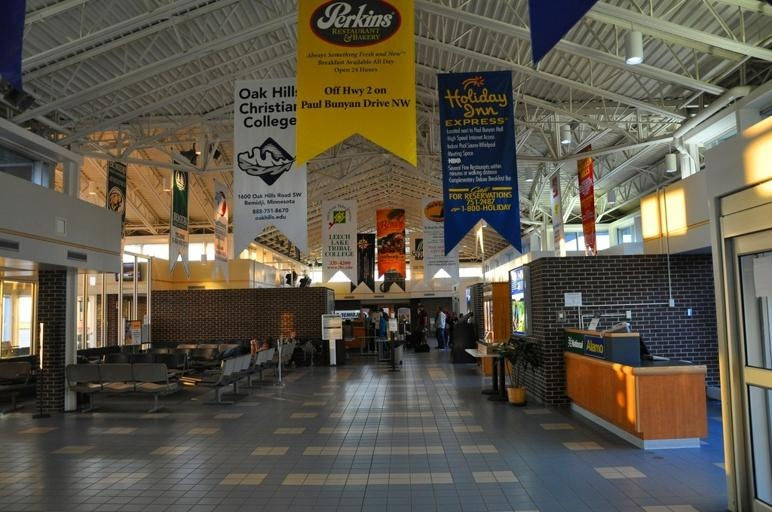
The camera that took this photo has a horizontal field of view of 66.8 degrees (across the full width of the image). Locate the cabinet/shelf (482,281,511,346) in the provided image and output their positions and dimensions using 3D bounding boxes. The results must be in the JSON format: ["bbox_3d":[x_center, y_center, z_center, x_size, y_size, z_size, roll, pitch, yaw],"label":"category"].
[{"bbox_3d":[2.779,1.373,15.159,0.510,1.438,1.490,-2,-1,-3],"label":"cabinet/shelf"}]

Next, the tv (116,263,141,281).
[{"bbox_3d":[-8.024,0.495,18.052,0.069,0.502,0.695,-2,-3,24],"label":"tv"}]

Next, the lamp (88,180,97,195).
[{"bbox_3d":[-10.426,-2.427,20.710,0.160,0.451,0.957,-2,3,-20],"label":"lamp"}]

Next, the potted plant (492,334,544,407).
[{"bbox_3d":[2.673,2.365,12.236,1.140,1.547,1.218,5,-7,-16],"label":"potted plant"}]

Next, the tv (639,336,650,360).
[{"bbox_3d":[4.286,1.531,9.738,0.159,0.341,0.410,0,3,24],"label":"tv"}]

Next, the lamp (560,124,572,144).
[{"bbox_3d":[5.395,-3.671,17.731,0.333,0.471,0.845,-1,2,17],"label":"lamp"}]

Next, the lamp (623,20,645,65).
[{"bbox_3d":[4.352,-3.723,10.351,0.269,0.732,0.759,-1,2,22],"label":"lamp"}]
